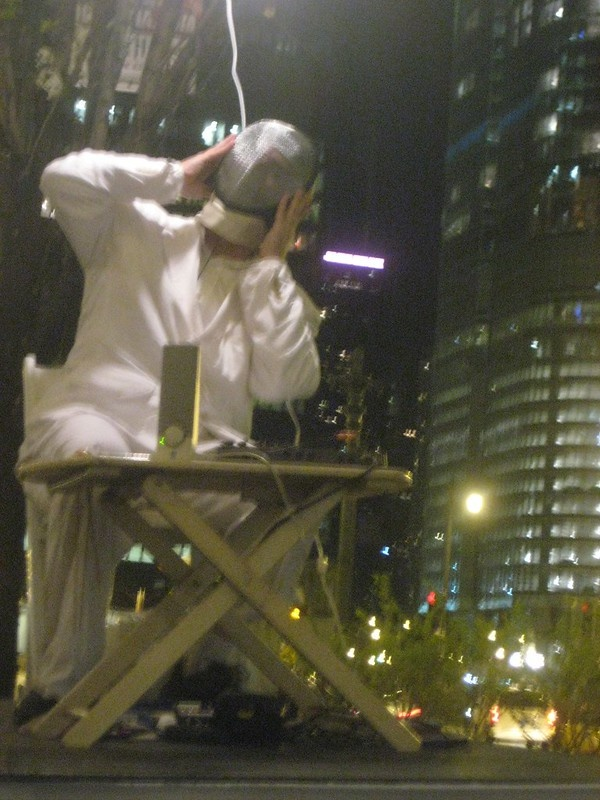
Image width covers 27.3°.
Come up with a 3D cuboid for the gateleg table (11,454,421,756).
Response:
[{"bbox_3d":[-0.158,0.435,2.525,0.777,0.438,0.639,4,-12,-12],"label":"gateleg table"}]

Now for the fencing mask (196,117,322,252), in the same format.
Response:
[{"bbox_3d":[-0.095,-0.494,2.811,0.210,0.271,0.193,30,24,-23],"label":"fencing mask"}]
